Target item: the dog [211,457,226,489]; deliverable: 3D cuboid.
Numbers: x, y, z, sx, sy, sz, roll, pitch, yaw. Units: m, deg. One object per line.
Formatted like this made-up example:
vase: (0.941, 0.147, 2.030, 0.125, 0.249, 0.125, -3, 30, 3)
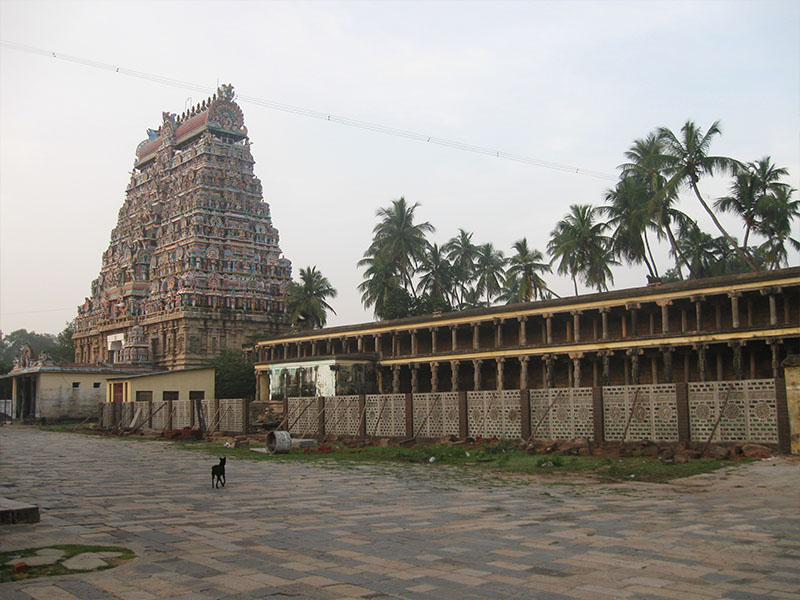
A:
dog: (-4.015, 3.805, 18.896, 0.329, 0.642, 1.341, 1, -10, -11)
